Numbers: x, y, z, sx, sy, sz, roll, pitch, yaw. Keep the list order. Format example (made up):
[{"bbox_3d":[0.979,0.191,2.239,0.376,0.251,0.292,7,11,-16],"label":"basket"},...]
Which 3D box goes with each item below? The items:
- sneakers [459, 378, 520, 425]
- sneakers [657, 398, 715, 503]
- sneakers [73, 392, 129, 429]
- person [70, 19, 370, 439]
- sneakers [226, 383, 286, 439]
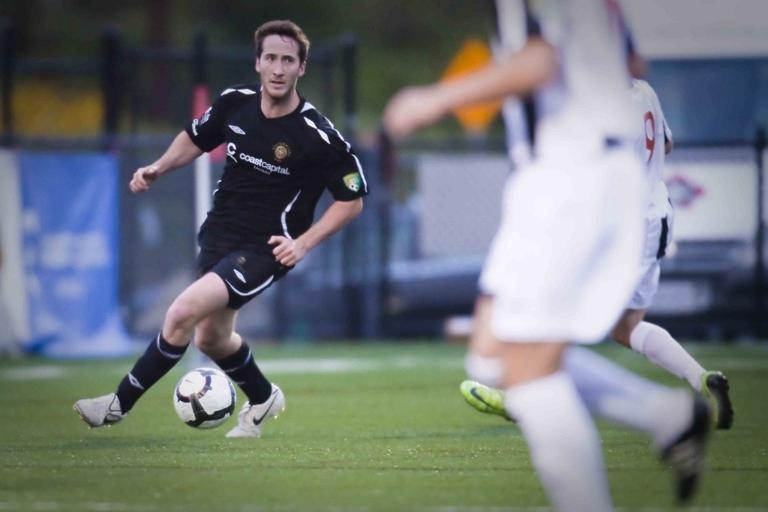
[{"bbox_3d":[0.673,0.914,7.240,0.340,0.136,0.207,28,7,-1],"label":"sneakers"},{"bbox_3d":[1.726,1.106,6.372,0.210,0.637,0.280,1,6,-15],"label":"sneakers"},{"bbox_3d":[-1.860,1.020,7.411,0.323,0.170,0.161,-11,-2,-28],"label":"sneakers"},{"bbox_3d":[-0.924,-0.152,7.490,1.598,2.778,0.749,2,15,-7],"label":"person"},{"bbox_3d":[-0.880,1.078,7.768,0.173,0.359,0.123,42,1,-40],"label":"sneakers"}]
